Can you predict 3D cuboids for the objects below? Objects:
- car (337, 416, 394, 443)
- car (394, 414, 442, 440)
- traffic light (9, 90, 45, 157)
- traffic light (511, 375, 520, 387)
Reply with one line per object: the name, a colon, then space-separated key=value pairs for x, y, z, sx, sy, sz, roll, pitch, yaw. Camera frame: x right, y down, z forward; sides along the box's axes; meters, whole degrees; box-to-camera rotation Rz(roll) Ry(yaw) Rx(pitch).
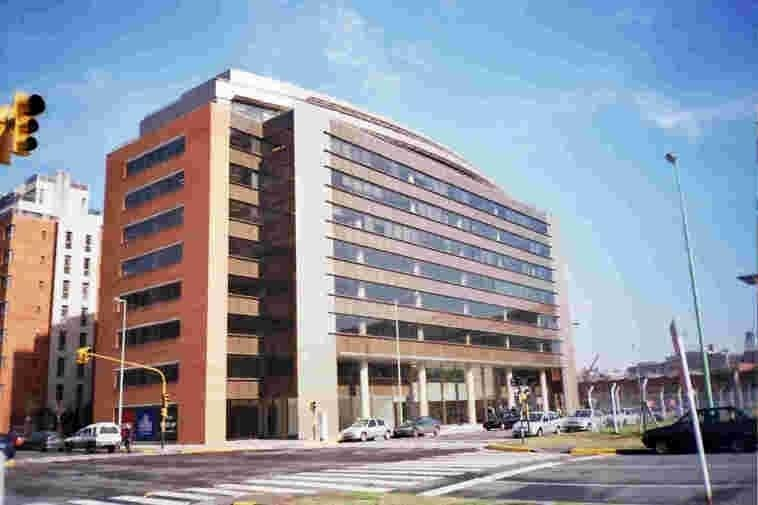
car: x=-0.861 y=14.126 z=50.798 sx=3.508 sy=1.350 sz=2.004 roll=19 pitch=-29 yaw=-39
car: x=3.318 y=14.638 z=53.206 sx=1.919 sy=1.540 sz=4.503 roll=-14 pitch=-16 yaw=39
traffic light: x=-8.563 y=-3.057 z=15.392 sx=0.653 sy=1.660 sz=0.799 roll=4 pitch=-15 yaw=-32
traffic light: x=8.797 y=8.237 z=40.509 sx=0.578 sy=0.523 sz=1.375 roll=-6 pitch=-13 yaw=11
